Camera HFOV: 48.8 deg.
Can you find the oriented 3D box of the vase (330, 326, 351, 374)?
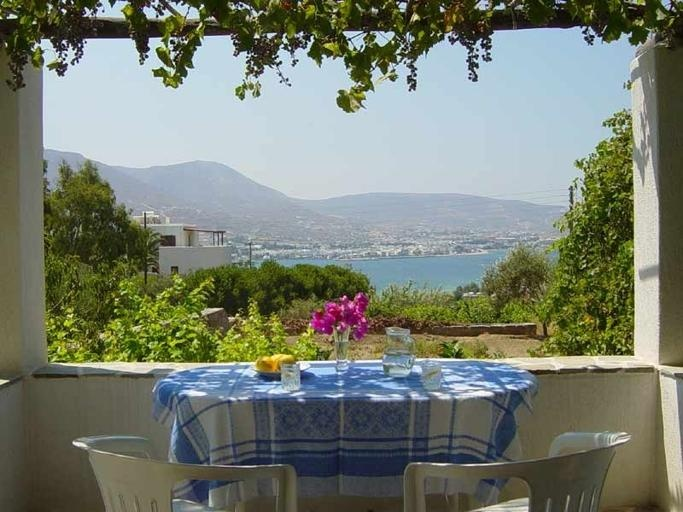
[{"bbox_3d":[-0.002,0.504,4.012,0.073,0.254,0.080,5,-18,-15],"label":"vase"}]

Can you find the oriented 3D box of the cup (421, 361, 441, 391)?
[{"bbox_3d":[0.432,0.595,3.660,0.094,0.128,0.108,0,-2,-1],"label":"cup"}]

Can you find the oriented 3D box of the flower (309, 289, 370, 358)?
[{"bbox_3d":[-0.013,0.340,4.133,0.291,0.424,0.326,-3,3,-4],"label":"flower"}]

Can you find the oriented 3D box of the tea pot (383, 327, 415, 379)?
[{"bbox_3d":[0.292,0.507,3.985,0.202,0.271,0.177,3,-4,3],"label":"tea pot"}]

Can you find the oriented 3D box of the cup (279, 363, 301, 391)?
[{"bbox_3d":[-0.244,0.584,3.625,0.101,0.143,0.113,0,-3,-4],"label":"cup"}]
